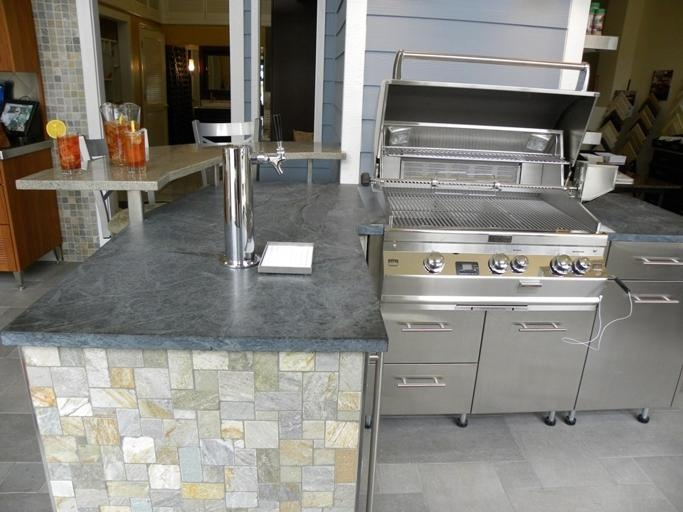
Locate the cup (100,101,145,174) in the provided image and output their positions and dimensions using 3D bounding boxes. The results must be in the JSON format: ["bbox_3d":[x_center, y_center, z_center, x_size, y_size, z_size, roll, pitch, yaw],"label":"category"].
[{"bbox_3d":[-1.026,-0.571,2.491,0.196,0.298,0.343,-3,20,-19],"label":"cup"}]

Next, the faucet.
[{"bbox_3d":[-0.368,-0.186,1.946,0.134,0.458,0.144,0,21,-11],"label":"faucet"}]

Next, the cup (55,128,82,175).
[{"bbox_3d":[-1.295,-0.499,2.494,0.100,0.163,0.248,-6,20,-26],"label":"cup"}]
